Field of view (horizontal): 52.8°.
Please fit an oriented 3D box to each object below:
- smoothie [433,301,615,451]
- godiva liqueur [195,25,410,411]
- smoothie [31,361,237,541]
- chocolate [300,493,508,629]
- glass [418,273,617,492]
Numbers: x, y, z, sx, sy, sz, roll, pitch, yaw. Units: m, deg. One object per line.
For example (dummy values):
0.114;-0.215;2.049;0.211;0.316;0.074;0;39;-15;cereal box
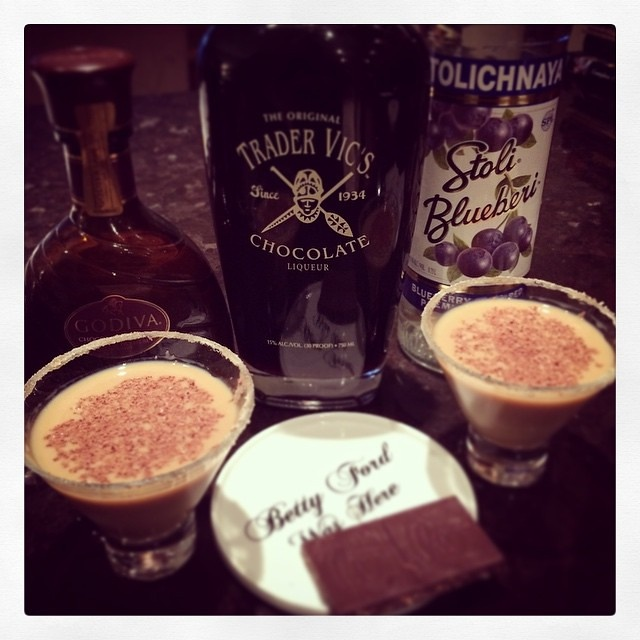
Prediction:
0.184;0.051;0.617;0.164;0.105;0.163;13;36;20;smoothie
-0.004;-0.075;0.579;0.174;0.353;0.088;3;36;6;godiva liqueur
-0.167;0.090;0.558;0.170;0.053;0.160;19;33;17;smoothie
0.066;0.192;0.517;0.143;0.023;0.081;-14;36;-19;chocolate
0.187;0.073;0.623;0.209;0.148;0.187;8;29;10;glass
